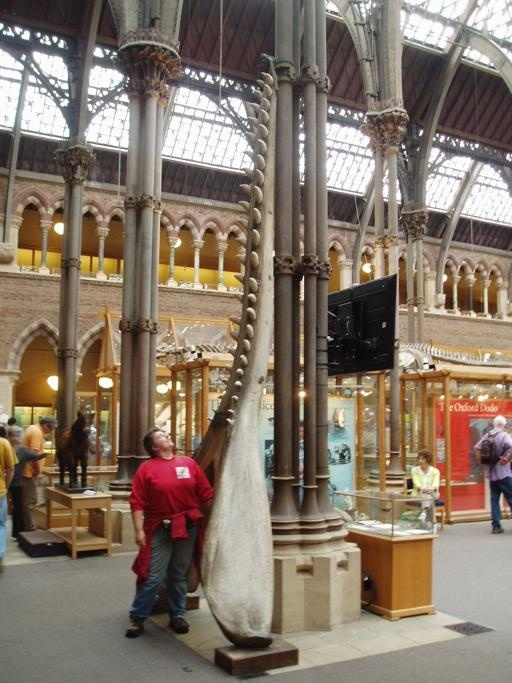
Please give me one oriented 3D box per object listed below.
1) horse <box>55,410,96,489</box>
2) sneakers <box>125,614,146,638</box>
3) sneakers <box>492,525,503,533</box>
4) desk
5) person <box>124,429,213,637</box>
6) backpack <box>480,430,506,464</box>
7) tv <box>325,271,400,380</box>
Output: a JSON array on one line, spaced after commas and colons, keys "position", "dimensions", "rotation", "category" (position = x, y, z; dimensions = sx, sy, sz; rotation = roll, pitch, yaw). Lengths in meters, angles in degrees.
[{"position": [-2.223, 1.385, 7.558], "dimensions": [0.318, 0.836, 1.229], "rotation": [5, -19, -28], "category": "horse"}, {"position": [-0.751, 1.800, 3.891], "dimensions": [0.057, 0.109, 0.158], "rotation": [5, 2, 7], "category": "sneakers"}, {"position": [3.472, 2.712, 8.872], "dimensions": [0.067, 0.109, 0.191], "rotation": [-1, -2, 38], "category": "sneakers"}, {"position": [-2.120, 2.156, 7.427], "dimensions": [0.804, 0.495, 0.312], "rotation": [20, -17, -40], "category": "desk"}, {"position": [-0.562, 1.227, 4.006], "dimensions": [0.563, 1.288, 0.415], "rotation": [6, -10, -24], "category": "person"}, {"position": [3.589, 1.688, 9.453], "dimensions": [0.442, 0.442, 0.296], "rotation": [12, -18, -26], "category": "backpack"}, {"position": [0.886, -0.109, 5.894], "dimensions": [0.340, 0.894, 1.039], "rotation": [8, -15, -32], "category": "tv"}]
